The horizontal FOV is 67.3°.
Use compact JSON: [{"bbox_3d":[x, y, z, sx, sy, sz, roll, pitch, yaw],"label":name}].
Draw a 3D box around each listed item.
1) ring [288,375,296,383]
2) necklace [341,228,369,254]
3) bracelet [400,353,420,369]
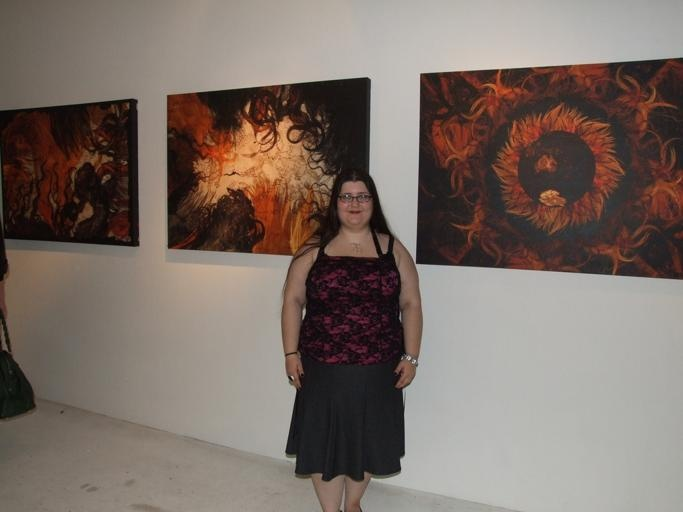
[{"bbox_3d":[-0.318,0.759,3.202,0.025,0.033,0.080,2,3,-3],"label":"ring"},{"bbox_3d":[0.082,-0.082,3.160,0.148,0.155,0.042,4,-9,-4],"label":"necklace"},{"bbox_3d":[0.424,0.626,3.146,0.075,0.079,0.083,30,7,7],"label":"bracelet"}]
